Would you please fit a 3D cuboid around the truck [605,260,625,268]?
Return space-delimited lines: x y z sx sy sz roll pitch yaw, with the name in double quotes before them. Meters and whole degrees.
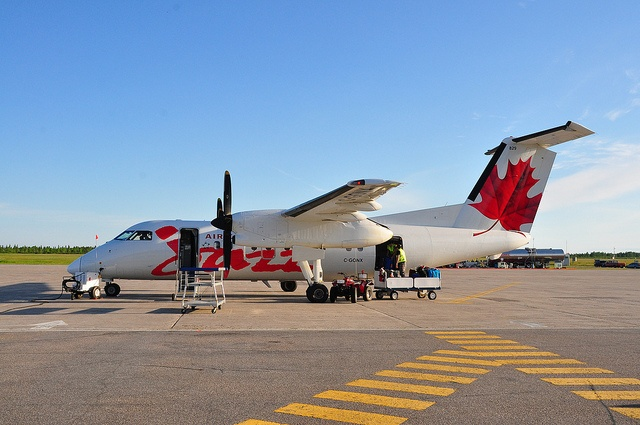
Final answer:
"truck" 55.126 9.795 81.796 3.514 0.862 2.077 -4 -6 31

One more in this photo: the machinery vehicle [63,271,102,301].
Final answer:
"machinery vehicle" -10.466 3.172 19.180 1.246 1.067 1.637 0 0 44

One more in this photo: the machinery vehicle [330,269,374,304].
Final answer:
"machinery vehicle" 1.407 3.321 19.581 1.407 1.055 1.989 -3 -11 26

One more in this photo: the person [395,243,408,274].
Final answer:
"person" 3.660 2.216 19.891 0.452 1.390 0.883 0 -2 10
